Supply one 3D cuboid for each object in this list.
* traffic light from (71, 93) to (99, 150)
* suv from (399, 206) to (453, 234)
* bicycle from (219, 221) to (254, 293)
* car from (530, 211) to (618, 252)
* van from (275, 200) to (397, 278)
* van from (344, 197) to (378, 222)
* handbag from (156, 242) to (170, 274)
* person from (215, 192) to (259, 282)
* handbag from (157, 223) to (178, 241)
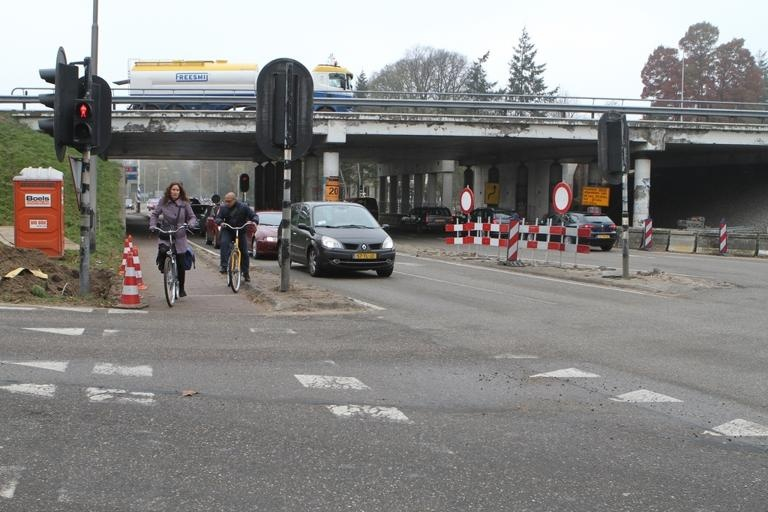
[{"bbox_3d":[-5.196,-2.265,13.633,0.413,0.888,0.388,2,5,2],"label":"traffic light"},{"bbox_3d":[2.952,-2.364,52.071,1.839,1.734,4.650,-1,7,-24],"label":"suv"},{"bbox_3d":[-3.232,0.028,17.093,0.474,1.376,1.582,1,6,-11],"label":"bicycle"},{"bbox_3d":[8.516,-1.081,33.302,1.679,1.814,4.122,0,2,-17],"label":"car"},{"bbox_3d":[-1.243,-0.474,20.072,1.747,1.752,4.523,-1,3,-20],"label":"van"},{"bbox_3d":[-1.326,-3.515,61.954,1.708,1.760,3.093,0,8,-1],"label":"van"},{"bbox_3d":[-3.989,0.024,14.298,0.171,0.513,0.444,-1,6,-25],"label":"handbag"},{"bbox_3d":[-3.340,-0.433,17.670,0.653,1.909,1.217,0,1,-12],"label":"person"},{"bbox_3d":[-3.966,-0.433,14.343,0.440,0.277,0.295,3,6,6],"label":"handbag"}]
